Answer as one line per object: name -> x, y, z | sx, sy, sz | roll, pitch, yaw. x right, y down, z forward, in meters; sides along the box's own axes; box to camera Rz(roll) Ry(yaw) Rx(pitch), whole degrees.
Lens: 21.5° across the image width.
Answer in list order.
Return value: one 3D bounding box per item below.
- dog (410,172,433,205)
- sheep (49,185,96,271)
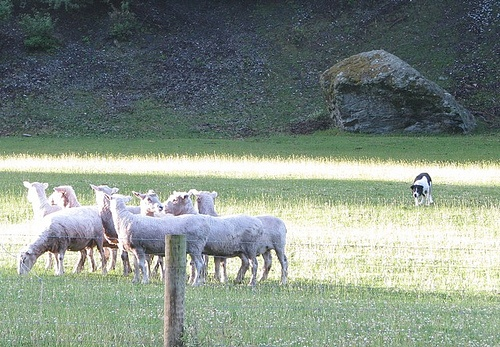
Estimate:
dog -> 14.370, 1.491, 110.319 | 1.706, 2.434, 2.642 | 1, 12, 8
sheep -> -13.164, 3.549, 99.753 | 2.936, 7.459, 2.859 | -4, 10, -18
